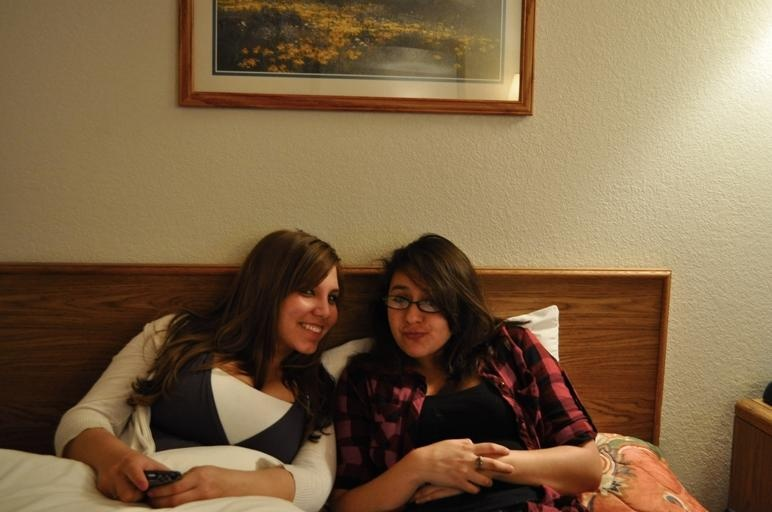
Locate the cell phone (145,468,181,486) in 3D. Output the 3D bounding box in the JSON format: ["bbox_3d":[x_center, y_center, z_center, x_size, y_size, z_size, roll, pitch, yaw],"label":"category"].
[{"bbox_3d":[-0.795,0.791,2.138,0.108,0.055,0.026,-1,9,-6],"label":"cell phone"}]

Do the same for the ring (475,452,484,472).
[{"bbox_3d":[0.351,0.781,2.259,0.034,0.042,0.018,0,-2,5],"label":"ring"}]

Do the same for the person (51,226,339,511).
[{"bbox_3d":[-0.696,0.440,2.343,1.021,1.008,0.599,1,12,-6],"label":"person"}]

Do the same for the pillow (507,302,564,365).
[{"bbox_3d":[0.688,0.345,2.590,0.252,0.231,0.071,2,-5,-6],"label":"pillow"}]
